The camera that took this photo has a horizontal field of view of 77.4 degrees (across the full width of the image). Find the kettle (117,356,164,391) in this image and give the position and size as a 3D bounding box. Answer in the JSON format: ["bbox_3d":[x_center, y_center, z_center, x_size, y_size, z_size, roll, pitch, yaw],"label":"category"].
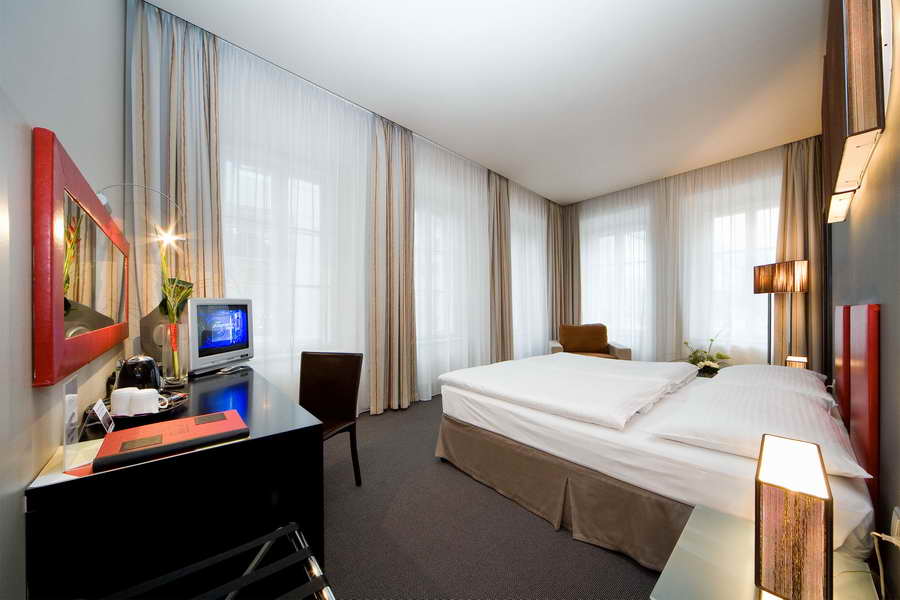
[{"bbox_3d":[-1.860,0.437,3.382,0.224,0.234,0.235,2,3,-28],"label":"kettle"}]

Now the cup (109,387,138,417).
[{"bbox_3d":[-1.831,0.579,3.202,0.134,0.136,0.139,-3,-1,0],"label":"cup"}]

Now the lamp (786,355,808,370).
[{"bbox_3d":[3.185,0.579,5.174,0.098,0.135,0.128,0,5,26],"label":"lamp"}]

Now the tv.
[{"bbox_3d":[-1.859,0.240,4.127,0.607,0.521,0.618,1,3,18],"label":"tv"}]

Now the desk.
[{"bbox_3d":[-1.460,0.712,2.932,1.228,0.654,0.831,-1,11,-33],"label":"desk"}]
